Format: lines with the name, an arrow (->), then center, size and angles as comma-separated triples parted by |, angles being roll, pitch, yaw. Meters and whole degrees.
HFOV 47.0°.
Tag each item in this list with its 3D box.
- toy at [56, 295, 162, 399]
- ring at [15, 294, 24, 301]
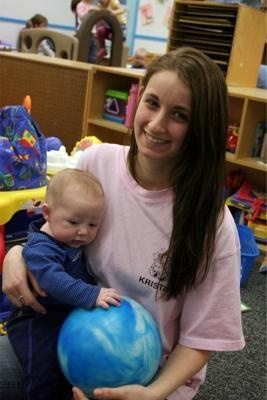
toy -> -0.061, 0.302, 0.647 | 0.155, 0.209, 0.164 | -8, 30, -34
ring -> -0.269, 0.234, 0.731 | 0.012, 0.014, 0.003 | 14, 7, 6
